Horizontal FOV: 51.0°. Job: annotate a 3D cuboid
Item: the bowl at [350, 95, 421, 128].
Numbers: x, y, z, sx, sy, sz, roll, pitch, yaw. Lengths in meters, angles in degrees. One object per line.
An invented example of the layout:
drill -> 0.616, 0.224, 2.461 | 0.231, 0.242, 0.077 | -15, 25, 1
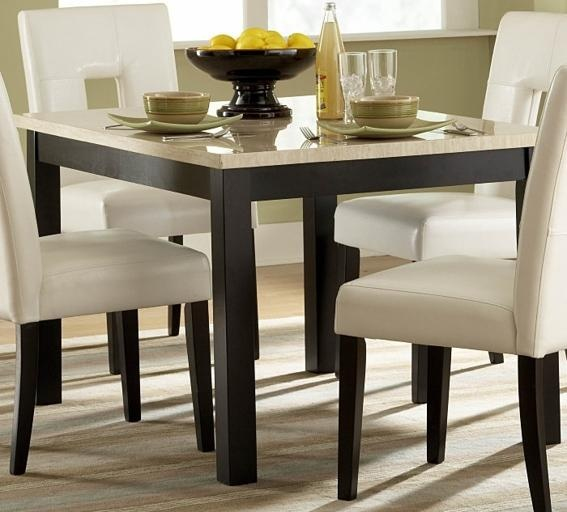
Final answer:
bowl -> 0.224, -0.315, 1.315 | 0.141, 0.061, 0.137 | -2, 16, 1

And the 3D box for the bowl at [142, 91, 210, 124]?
bowl -> -0.246, -0.356, 1.451 | 0.165, 0.077, 0.172 | -1, 18, 0
